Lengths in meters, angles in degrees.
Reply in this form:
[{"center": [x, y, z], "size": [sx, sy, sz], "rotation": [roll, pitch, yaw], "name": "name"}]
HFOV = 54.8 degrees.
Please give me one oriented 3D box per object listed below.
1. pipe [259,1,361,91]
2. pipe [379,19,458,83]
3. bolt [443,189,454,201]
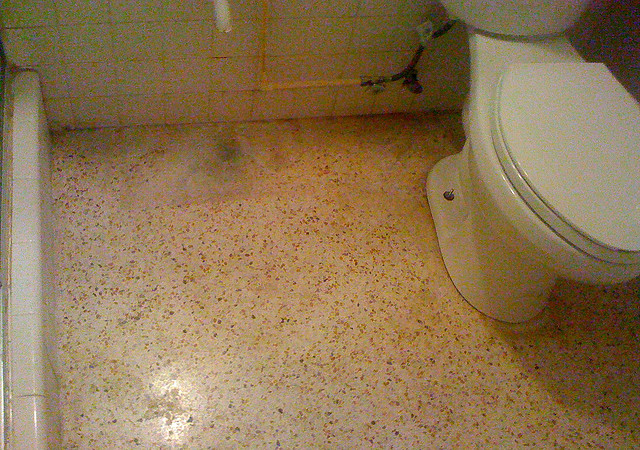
[{"center": [-0.049, -0.507, 1.926], "size": [0.252, 0.232, 0.018], "rotation": [-9, 51, 1], "name": "pipe"}, {"center": [0.259, -0.486, 1.851], "size": [0.055, 0.479, 0.061], "rotation": [-33, 92, -16], "name": "pipe"}, {"center": [0.391, -0.091, 1.876], "size": [0.025, 0.033, 0.013], "rotation": [43, 22, 16], "name": "bolt"}]
